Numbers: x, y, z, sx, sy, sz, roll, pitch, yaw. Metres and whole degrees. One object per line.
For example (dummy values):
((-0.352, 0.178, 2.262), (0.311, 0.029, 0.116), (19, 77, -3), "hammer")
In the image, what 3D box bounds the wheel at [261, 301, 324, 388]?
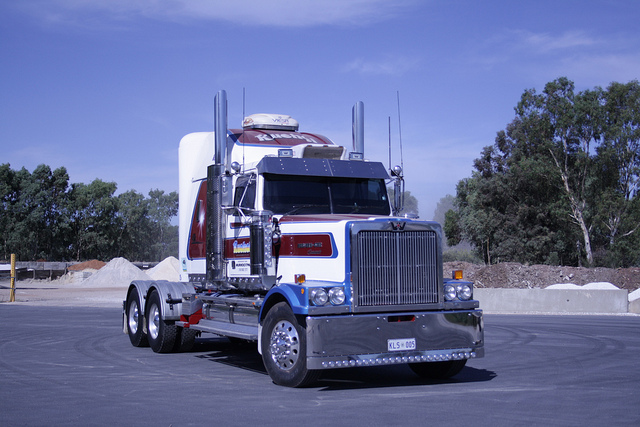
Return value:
((-0.648, 2.713, 13.440), (0.343, 1.790, 1.485), (2, 0, -45), "wheel")

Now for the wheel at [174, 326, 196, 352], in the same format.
((-3.804, 3.491, 18.008), (0.577, 0.744, 0.511), (2, 0, -31), "wheel")

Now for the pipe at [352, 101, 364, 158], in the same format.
((1.058, -2.504, 18.514), (0.270, 1.572, 0.469), (2, 0, -5), "pipe")

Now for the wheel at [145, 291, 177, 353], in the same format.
((-4.492, 3.029, 18.271), (0.533, 1.803, 1.708), (-1, -14, -32), "wheel")

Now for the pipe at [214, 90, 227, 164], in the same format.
((-2.478, -2.157, 16.065), (0.324, 1.850, 0.361), (2, 0, -9), "pipe")
